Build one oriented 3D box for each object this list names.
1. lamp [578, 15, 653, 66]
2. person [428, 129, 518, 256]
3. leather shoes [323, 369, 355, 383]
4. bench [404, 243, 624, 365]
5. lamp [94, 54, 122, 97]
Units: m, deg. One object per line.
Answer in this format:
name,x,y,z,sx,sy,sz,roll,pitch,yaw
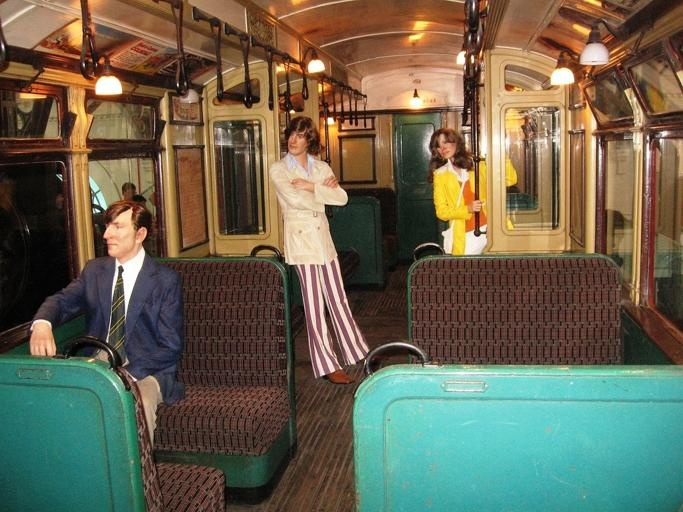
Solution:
lamp,1.890,-1.532,3.871,0.506,0.466,0.295,7,11,14
person,1.063,-0.550,4.843,0.852,1.101,0.330,-9,3,9
leather shoes,-0.021,1.147,5.078,0.228,0.099,0.129,2,8,23
bench,1.172,0.356,3.967,1.327,0.737,0.944,-1,-6,6
lamp,-1.610,-1.246,3.684,0.177,0.263,0.186,-8,19,-26
